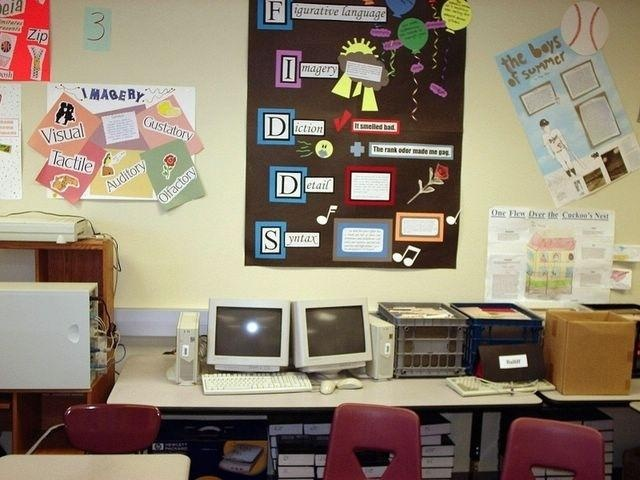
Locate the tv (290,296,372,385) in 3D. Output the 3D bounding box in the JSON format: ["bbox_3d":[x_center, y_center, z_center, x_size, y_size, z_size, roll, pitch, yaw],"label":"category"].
[{"bbox_3d":[0.091,0.578,3.216,0.427,0.425,0.246,-3,-8,-4],"label":"tv"}]

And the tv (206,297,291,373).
[{"bbox_3d":[-0.421,0.533,3.184,0.486,0.428,0.279,3,9,-5],"label":"tv"}]

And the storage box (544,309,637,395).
[{"bbox_3d":[1.554,0.606,3.216,0.467,0.473,0.469,1,5,4],"label":"storage box"}]
